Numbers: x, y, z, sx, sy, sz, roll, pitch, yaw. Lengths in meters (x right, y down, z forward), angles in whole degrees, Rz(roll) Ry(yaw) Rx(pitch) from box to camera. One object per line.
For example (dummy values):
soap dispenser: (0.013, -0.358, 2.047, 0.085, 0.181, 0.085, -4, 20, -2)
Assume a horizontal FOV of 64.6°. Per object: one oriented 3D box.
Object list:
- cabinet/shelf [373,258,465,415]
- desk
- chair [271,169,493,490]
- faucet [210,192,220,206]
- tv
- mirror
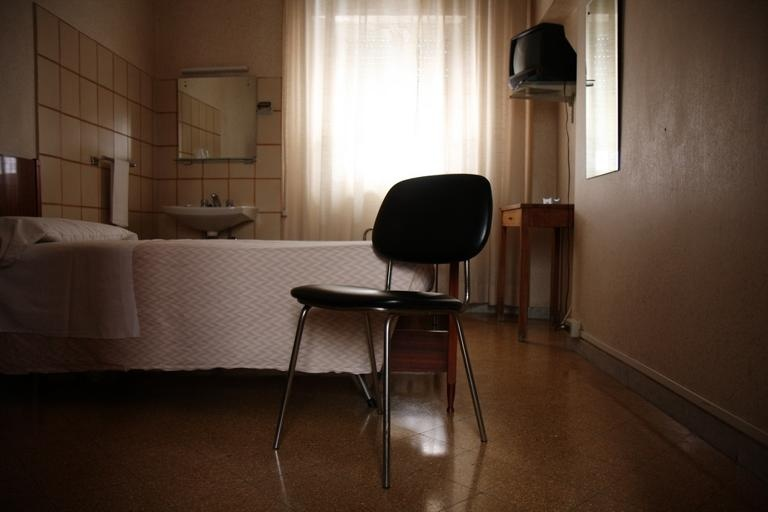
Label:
cabinet/shelf: (0.199, 0.427, 3.342, 0.594, 1.048, 0.557, 1, 0, -2)
desk: (1.103, 0.020, 4.271, 0.558, 0.760, 0.523, -3, 7, -6)
chair: (0.024, 0.242, 2.674, 0.757, 1.197, 0.822, 4, 5, 32)
faucet: (-1.376, -0.465, 4.969, 0.041, 0.115, 0.160, 5, -7, -5)
tv: (1.147, -1.443, 4.423, 0.318, 0.374, 0.427, -3, 5, -18)
mirror: (-1.399, -1.107, 5.133, 0.682, 0.693, 0.015, 1, 1, -29)
